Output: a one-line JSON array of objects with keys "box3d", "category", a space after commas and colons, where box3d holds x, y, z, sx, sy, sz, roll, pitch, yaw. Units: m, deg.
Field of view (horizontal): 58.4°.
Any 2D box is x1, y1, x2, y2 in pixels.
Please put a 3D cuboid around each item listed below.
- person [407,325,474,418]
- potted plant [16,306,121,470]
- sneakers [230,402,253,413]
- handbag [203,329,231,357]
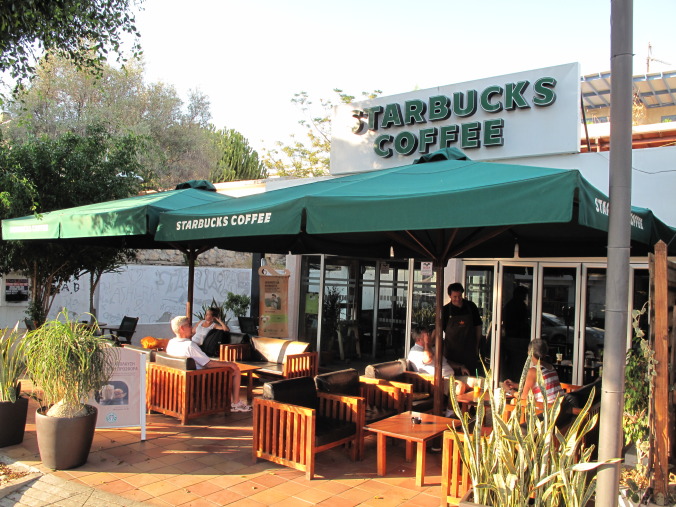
[{"box3d": [1.602, 1.866, 9.313, 0.914, 1.570, 0.703, -16, -6, 43], "category": "person"}, {"box3d": [-3.350, 1.643, 7.520, 0.981, 1.967, 0.682, -2, 6, -29], "category": "potted plant"}, {"box3d": [-1.588, 2.500, 9.841, 0.306, 0.140, 0.144, 0, 6, -18], "category": "sneakers"}, {"box3d": [-2.349, 1.672, 11.381, 0.491, 0.291, 0.640, 4, -12, -24], "category": "handbag"}]
